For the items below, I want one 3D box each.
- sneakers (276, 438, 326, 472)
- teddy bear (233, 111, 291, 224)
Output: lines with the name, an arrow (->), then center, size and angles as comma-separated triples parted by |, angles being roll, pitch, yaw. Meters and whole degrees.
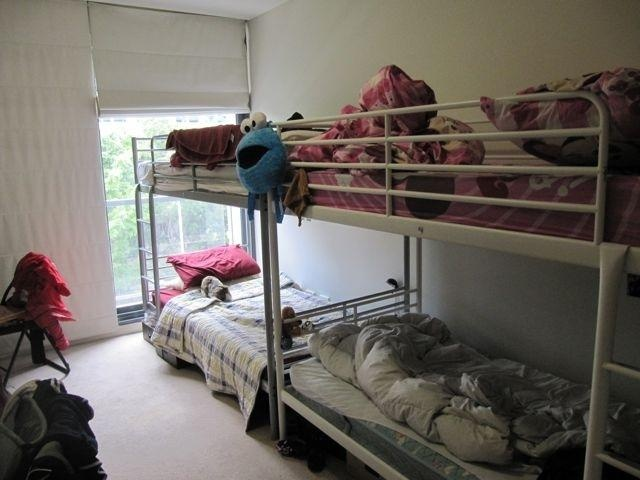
sneakers -> -0.107, 1.312, 2.964 | 0.355, 0.149, 0.120 | 19, 25, 40
teddy bear -> -0.333, -0.408, 2.719 | 0.327, 0.604, 0.223 | -8, -8, 31
